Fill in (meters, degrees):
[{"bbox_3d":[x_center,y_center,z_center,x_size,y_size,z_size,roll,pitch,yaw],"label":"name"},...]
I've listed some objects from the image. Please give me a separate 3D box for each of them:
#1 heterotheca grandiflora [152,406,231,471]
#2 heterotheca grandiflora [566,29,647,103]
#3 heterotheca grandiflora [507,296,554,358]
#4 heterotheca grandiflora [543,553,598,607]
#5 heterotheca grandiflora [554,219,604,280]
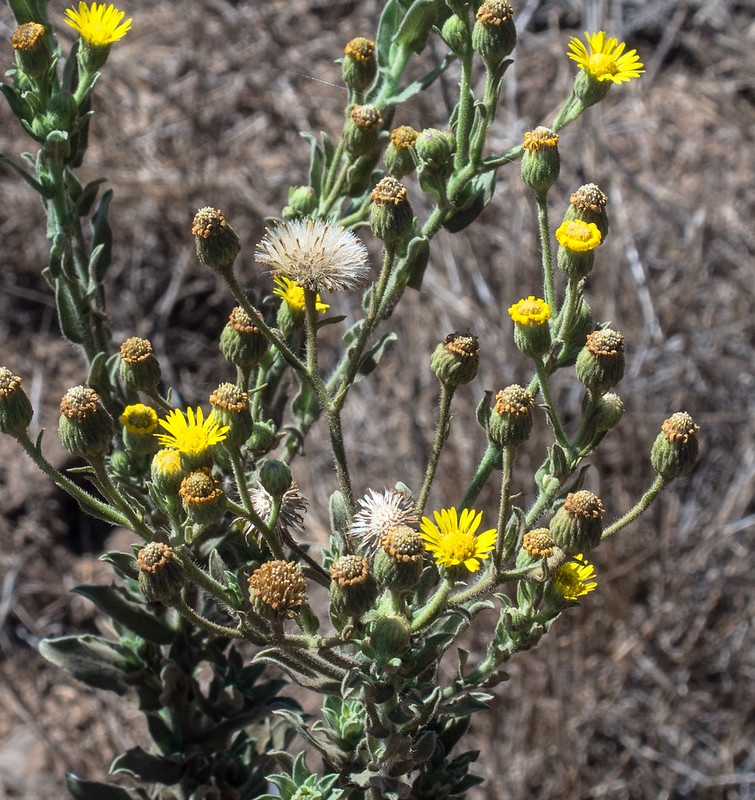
[{"bbox_3d":[-0.395,0.104,2.791,0.143,0.155,0.088,0,102,11],"label":"heterotheca grandiflora"},{"bbox_3d":[0.520,-0.770,2.981,0.185,0.182,0.084,10,79,-5],"label":"heterotheca grandiflora"},{"bbox_3d":[0.347,-0.152,2.872,0.083,0.082,0.133,-9,72,-6],"label":"heterotheca grandiflora"},{"bbox_3d":[0.447,0.402,2.948,0.056,0.122,0.124,36,42,-31],"label":"heterotheca grandiflora"},{"bbox_3d":[0.453,-0.337,2.916,0.104,0.120,0.109,-9,37,-13],"label":"heterotheca grandiflora"}]
